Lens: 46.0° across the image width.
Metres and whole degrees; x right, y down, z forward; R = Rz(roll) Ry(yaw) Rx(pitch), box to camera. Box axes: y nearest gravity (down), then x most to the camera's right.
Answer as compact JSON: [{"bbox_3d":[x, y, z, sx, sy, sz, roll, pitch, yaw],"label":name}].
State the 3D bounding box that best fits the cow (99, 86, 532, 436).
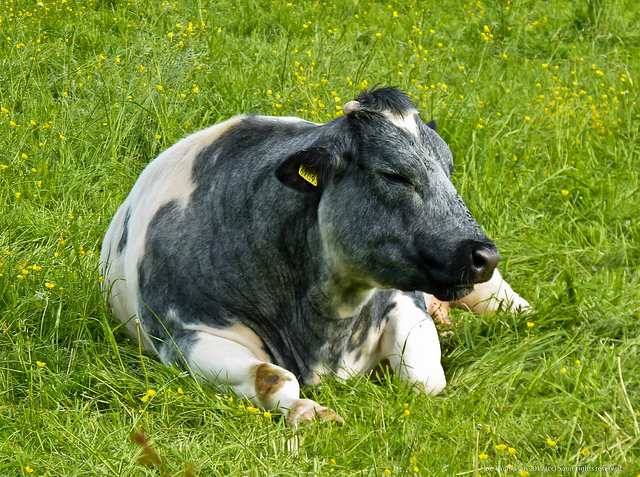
[{"bbox_3d":[-0.387,-0.149,5.117,1.966,1.407,2.524,-6,26,-36],"label":"cow"}]
